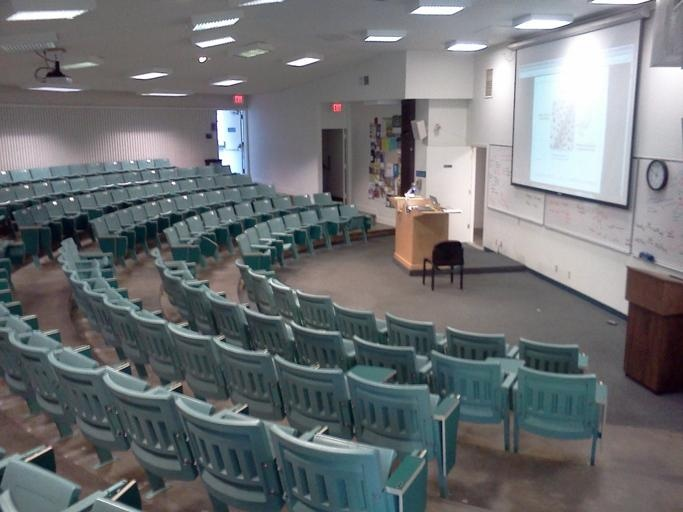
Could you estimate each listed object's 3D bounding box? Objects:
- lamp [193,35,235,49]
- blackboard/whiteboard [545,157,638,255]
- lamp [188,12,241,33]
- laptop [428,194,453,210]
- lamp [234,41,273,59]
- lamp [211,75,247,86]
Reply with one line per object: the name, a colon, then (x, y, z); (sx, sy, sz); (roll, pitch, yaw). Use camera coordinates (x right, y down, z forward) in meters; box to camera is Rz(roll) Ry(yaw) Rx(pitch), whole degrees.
lamp: (-2.474, -4.248, 9.665); (0.720, 0.183, 1.190); (-6, 12, -7)
blackboard/whiteboard: (4.194, -0.855, 8.022); (0.069, 1.194, 1.595); (-6, 12, -18)
lamp: (-2.089, -3.896, 8.094); (0.800, 0.146, 0.599); (-6, 12, -9)
laptop: (2.208, -1.229, 10.830); (0.425, 0.270, 0.613); (4, 10, -15)
lamp: (-1.881, -4.459, 10.432); (0.471, 0.139, 0.807); (-15, 17, -42)
lamp: (-3.333, -5.161, 14.265); (0.742, 0.211, 0.674); (-6, 11, -18)
